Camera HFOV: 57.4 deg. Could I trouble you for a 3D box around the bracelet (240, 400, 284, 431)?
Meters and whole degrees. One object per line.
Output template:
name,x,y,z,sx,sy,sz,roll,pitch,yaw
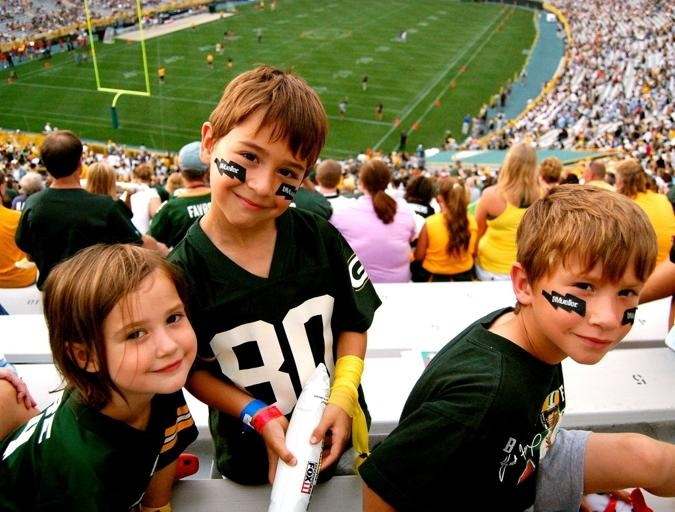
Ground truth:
bracelet,-0.260,0.523,2.060,0.122,0.049,0.095,32,54,23
